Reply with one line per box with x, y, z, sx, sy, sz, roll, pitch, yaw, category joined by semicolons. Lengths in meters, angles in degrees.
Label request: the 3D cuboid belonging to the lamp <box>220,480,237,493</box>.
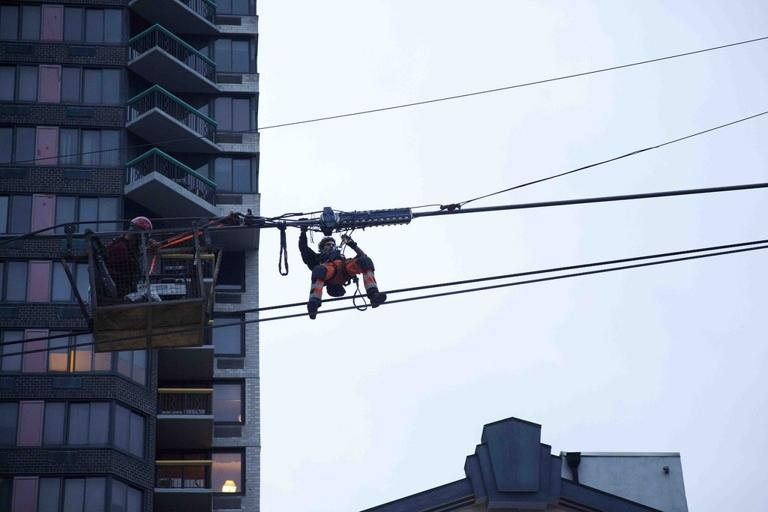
-7.606;11.303;78.827;0.619;0.615;0.575;6;-101;-24;lamp
